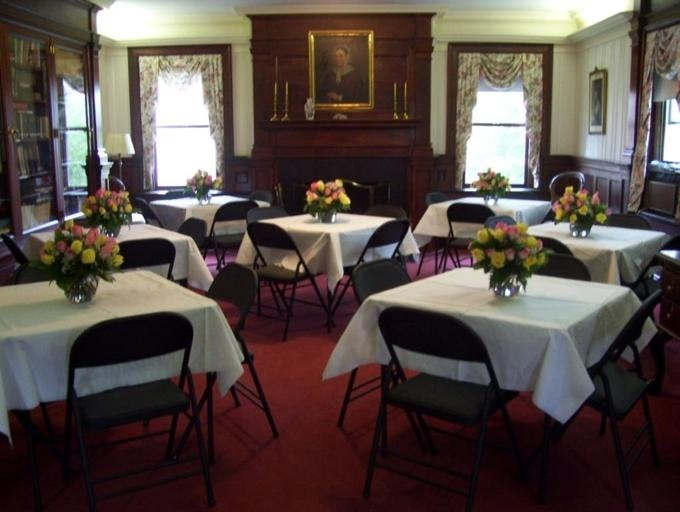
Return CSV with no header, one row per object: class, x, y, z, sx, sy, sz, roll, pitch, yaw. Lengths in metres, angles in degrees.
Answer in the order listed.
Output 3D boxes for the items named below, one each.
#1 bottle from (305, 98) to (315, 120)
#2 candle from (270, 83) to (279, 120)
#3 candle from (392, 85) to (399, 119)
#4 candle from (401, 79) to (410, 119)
bottle,-0.511,-2.398,8.500,0.189,0.361,0.247,0,16,6
candle,-1.087,-2.570,8.553,0.105,0.583,0.215,0,15,7
candle,0.920,-2.566,8.558,0.088,0.556,0.154,0,15,6
candle,1.085,-2.573,8.549,0.145,0.577,0.148,2,16,16
